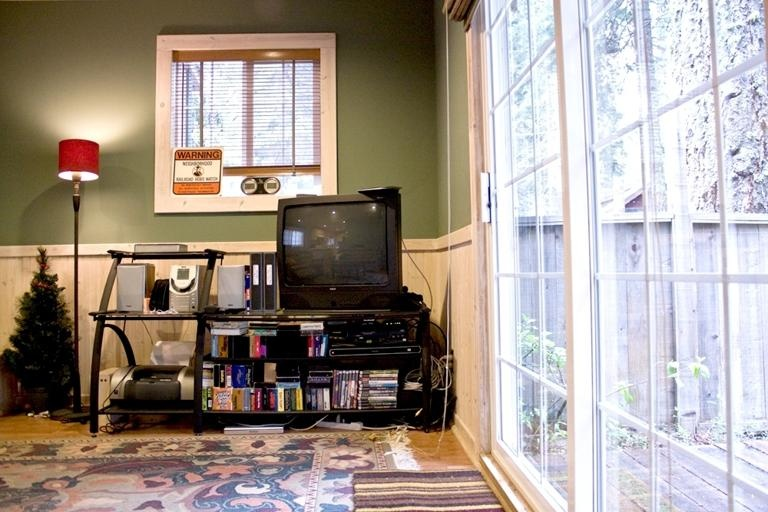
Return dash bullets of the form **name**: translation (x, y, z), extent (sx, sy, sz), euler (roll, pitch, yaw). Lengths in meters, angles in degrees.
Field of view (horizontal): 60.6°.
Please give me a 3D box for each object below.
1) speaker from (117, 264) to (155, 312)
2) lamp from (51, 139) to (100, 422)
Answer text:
- **speaker**: translation (-1.687, 0.198, 4.421), extent (0.253, 0.415, 0.311), euler (1, -9, -12)
- **lamp**: translation (-2.179, 0.126, 4.730), extent (0.384, 1.897, 0.896), euler (-5, 10, -22)
